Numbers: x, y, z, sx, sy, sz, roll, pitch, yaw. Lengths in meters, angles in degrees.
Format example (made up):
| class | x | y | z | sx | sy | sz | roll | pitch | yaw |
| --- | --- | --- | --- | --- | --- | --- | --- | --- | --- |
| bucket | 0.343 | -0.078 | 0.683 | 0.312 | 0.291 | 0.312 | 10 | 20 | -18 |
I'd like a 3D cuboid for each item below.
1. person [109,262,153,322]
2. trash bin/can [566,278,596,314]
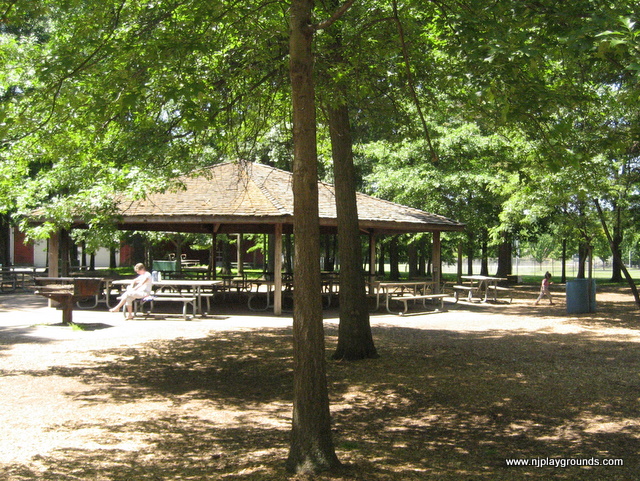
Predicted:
| class | x | y | z | sx | sy | sz | roll | pitch | yaw |
| --- | --- | --- | --- | --- | --- | --- | --- | --- | --- |
| person | -5.061 | 1.360 | 20.275 | 0.785 | 1.531 | 2.413 | 0 | 2 | -14 |
| trash bin/can | 7.943 | 1.711 | 22.521 | 0.567 | 0.961 | 1.055 | -3 | -3 | 41 |
